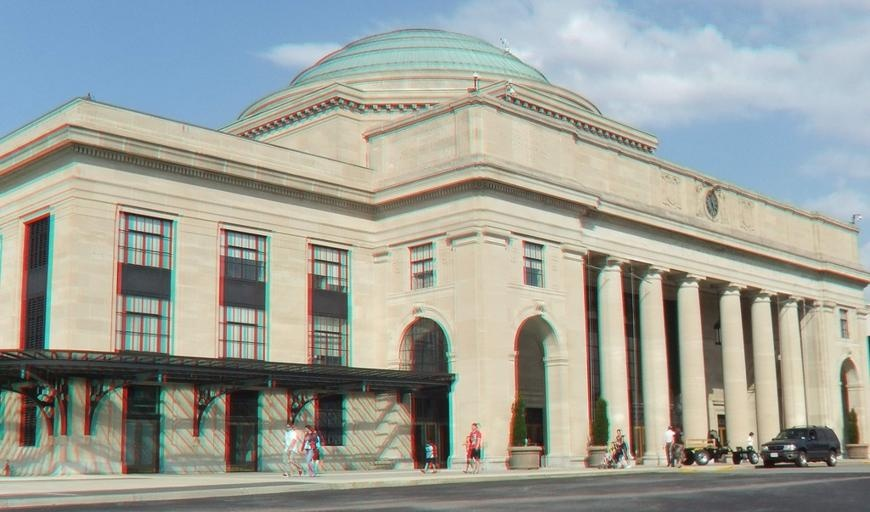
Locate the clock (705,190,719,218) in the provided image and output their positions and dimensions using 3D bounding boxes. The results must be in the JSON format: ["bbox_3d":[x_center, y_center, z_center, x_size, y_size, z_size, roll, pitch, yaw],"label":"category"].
[{"bbox_3d":[23.194,-4.344,117.254,0.250,2.190,2.012,-24,-33,39],"label":"clock"}]

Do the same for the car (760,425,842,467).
[{"bbox_3d":[27.227,14.090,104.453,5.879,3.398,2.168,9,-23,-28],"label":"car"}]
